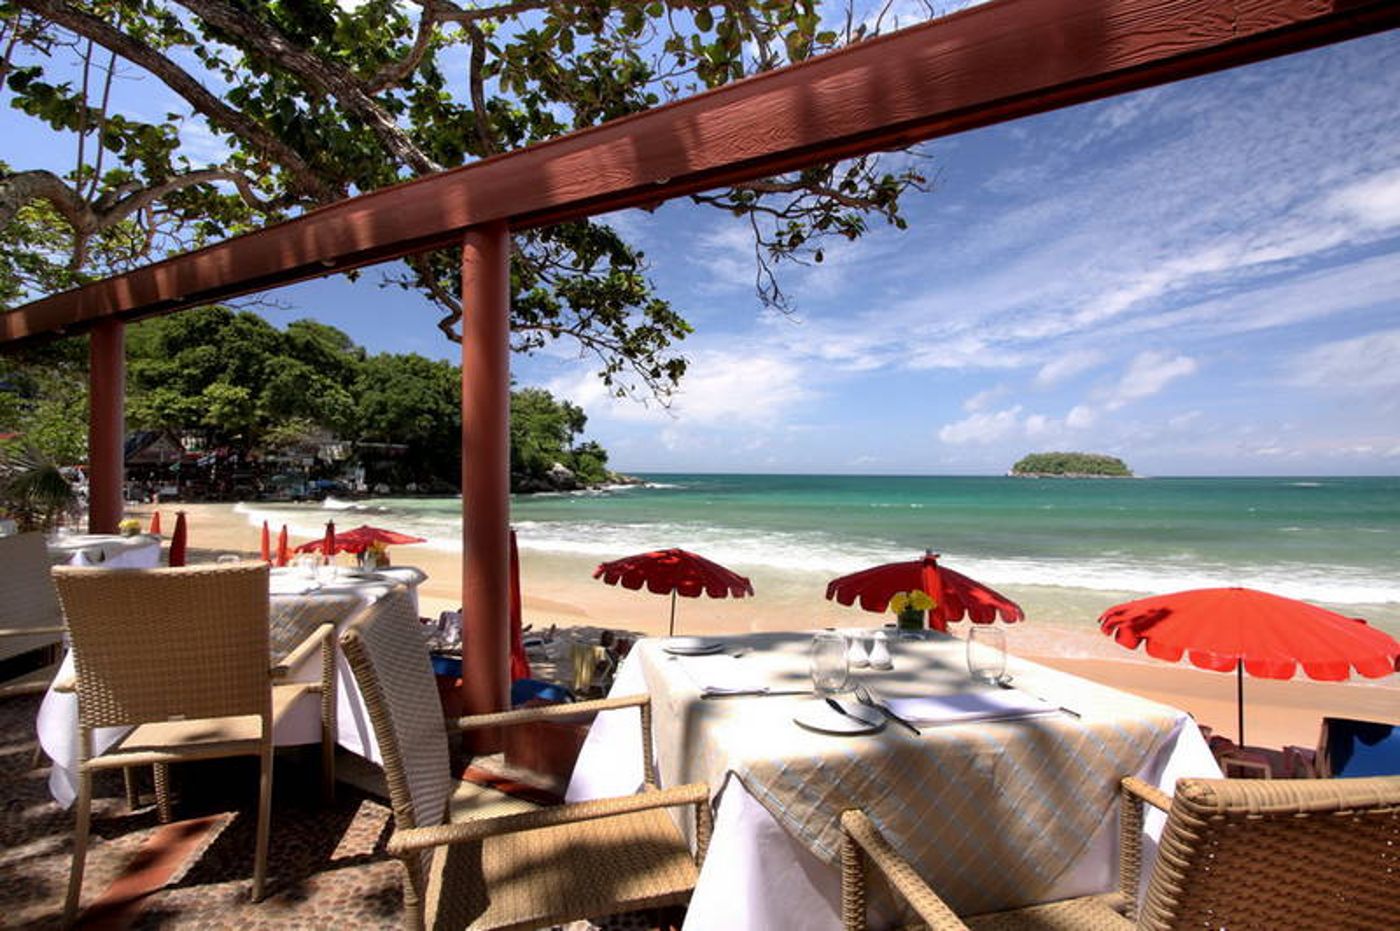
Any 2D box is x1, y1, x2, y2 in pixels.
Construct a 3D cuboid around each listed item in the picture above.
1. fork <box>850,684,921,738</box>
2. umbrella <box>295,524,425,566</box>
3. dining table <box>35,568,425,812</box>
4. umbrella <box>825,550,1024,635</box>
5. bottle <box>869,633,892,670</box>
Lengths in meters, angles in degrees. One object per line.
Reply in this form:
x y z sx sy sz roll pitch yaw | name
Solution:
0.775 1.056 3.747 0.081 0.072 0.529 4 4 -15 | fork
-2.704 0.557 6.521 0.684 0.210 0.659 2 -1 1 | umbrella
-2.539 1.022 5.024 1.703 1.335 1.795 -1 -2 -17 | dining table
1.373 0.650 5.228 0.778 0.358 0.807 10 -8 -43 | umbrella
0.847 0.907 4.204 0.143 0.178 0.137 -4 -2 0 | bottle
